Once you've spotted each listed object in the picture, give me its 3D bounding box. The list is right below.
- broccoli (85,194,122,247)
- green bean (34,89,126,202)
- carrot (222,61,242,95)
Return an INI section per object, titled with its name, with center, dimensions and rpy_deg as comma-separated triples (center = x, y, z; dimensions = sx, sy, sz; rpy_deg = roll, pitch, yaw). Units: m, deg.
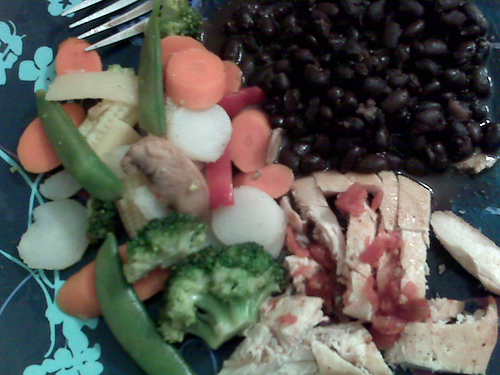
[broccoli]
center = -0.764, 0.171, 2.742
dimensions = 0.223, 0.116, 0.230
rpy_deg = 12, 81, -44
[green bean]
center = -0.892, -0.189, 2.712
dimensions = 0.166, 0.132, 0.688
rpy_deg = -38, 80, -13
[carrot]
center = -0.092, -0.583, 2.879
dimensions = 0.131, 0.050, 0.161
rpy_deg = -2, 89, -7
